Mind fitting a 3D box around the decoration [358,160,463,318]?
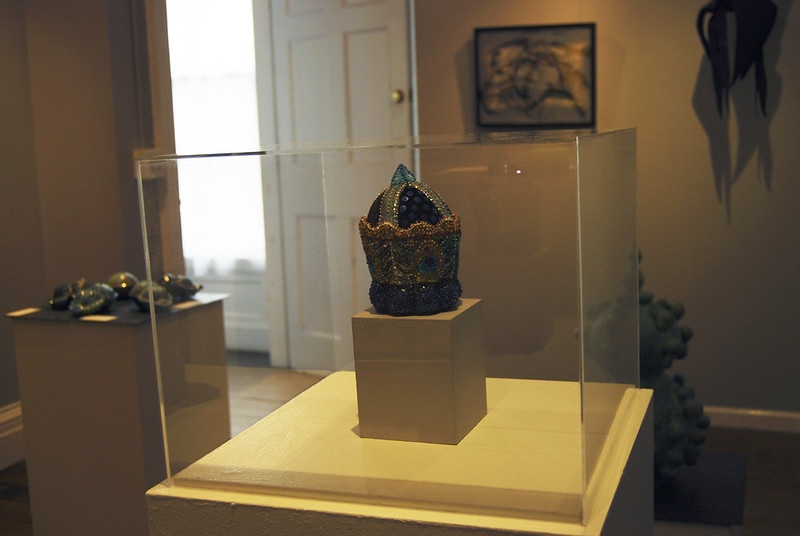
[{"bbox_3d":[0.037,-0.083,2.298,0.368,0.533,0.381,-1,7,15],"label":"decoration"}]
